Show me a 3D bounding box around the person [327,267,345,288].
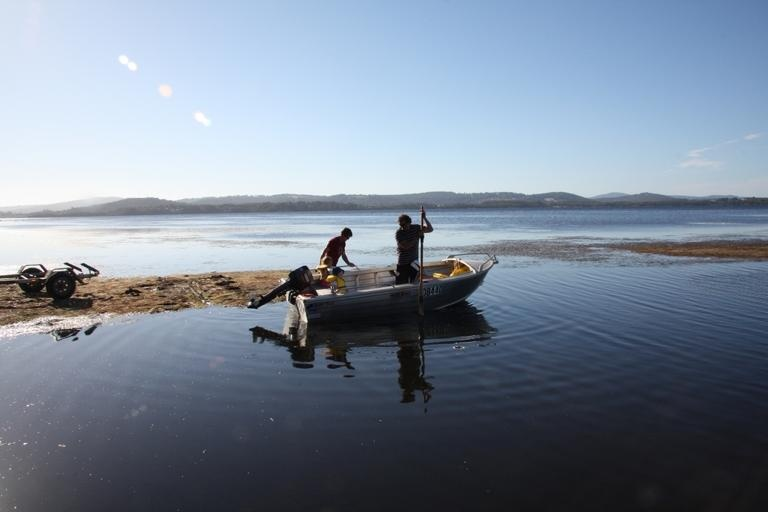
[{"bbox_3d":[-1.513,0.716,15.933,0.786,0.664,0.841,-5,0,-6],"label":"person"}]

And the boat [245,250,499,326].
[{"bbox_3d":[-0.060,1.336,16.466,7.932,1.444,2.549,-5,12,-17],"label":"boat"}]
